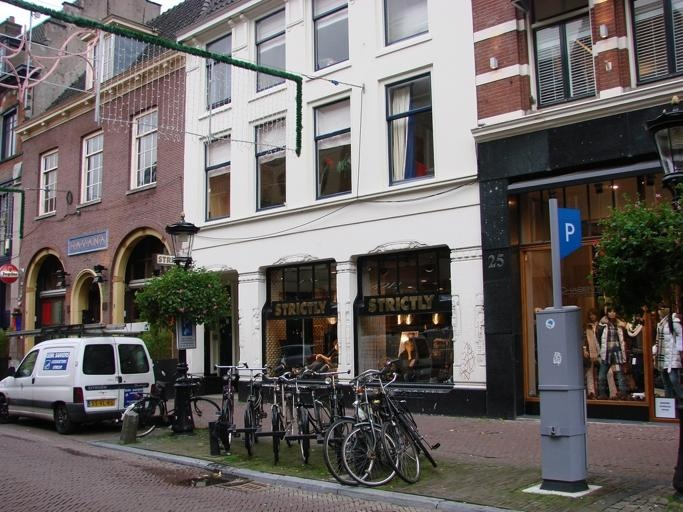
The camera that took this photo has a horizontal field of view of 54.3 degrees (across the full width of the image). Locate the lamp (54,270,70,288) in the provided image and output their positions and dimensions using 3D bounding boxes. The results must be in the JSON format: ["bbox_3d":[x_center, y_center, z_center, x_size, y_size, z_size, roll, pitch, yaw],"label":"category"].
[{"bbox_3d":[-11.151,0.960,26.618,0.289,0.819,1.548,5,-14,-31],"label":"lamp"}]
